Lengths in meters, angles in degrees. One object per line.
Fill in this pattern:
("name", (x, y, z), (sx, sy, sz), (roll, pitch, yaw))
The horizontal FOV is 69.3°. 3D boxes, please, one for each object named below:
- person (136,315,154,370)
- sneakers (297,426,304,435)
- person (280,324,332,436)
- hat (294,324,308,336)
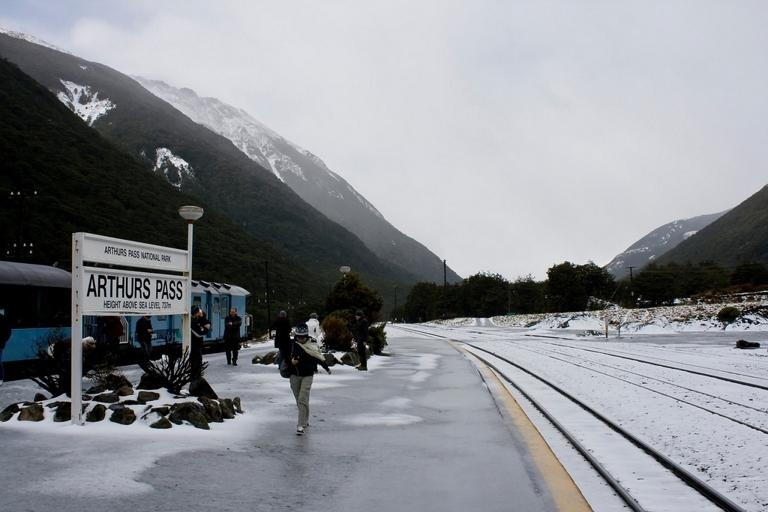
("person", (-8.029, 2.710, 18.673), (0.523, 1.518, 2.472), (3, -12, -22))
("sneakers", (-1.678, 3.498, 11.224), (0.167, 0.148, 0.296), (1, -11, -9))
("person", (-1.753, 2.587, 11.979), (0.842, 2.236, 1.481), (2, -10, -16))
("hat", (-1.771, 1.585, 11.961), (0.224, 0.264, 0.274), (2, -11, -12))
